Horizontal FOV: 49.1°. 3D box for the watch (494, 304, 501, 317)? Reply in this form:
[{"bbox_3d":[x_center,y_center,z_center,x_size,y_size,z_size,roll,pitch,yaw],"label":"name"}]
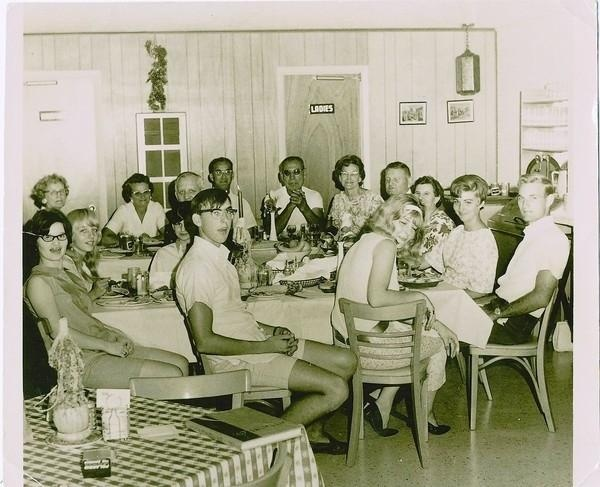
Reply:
[{"bbox_3d":[1.326,0.459,4.406,0.050,0.075,0.030,6,-22,17],"label":"watch"}]

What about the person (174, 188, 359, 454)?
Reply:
[{"bbox_3d":[-0.187,0.474,3.702,0.919,1.622,0.773,-1,9,13],"label":"person"}]

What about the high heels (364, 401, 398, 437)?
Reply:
[{"bbox_3d":[0.516,1.153,4.248,0.117,0.324,0.107,-24,-1,0],"label":"high heels"}]

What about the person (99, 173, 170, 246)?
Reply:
[{"bbox_3d":[-1.638,-0.276,6.642,0.642,0.825,0.509,-1,4,-19],"label":"person"}]

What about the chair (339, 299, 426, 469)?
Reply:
[{"bbox_3d":[0.523,0.787,3.884,0.587,0.938,0.579,-3,4,-41],"label":"chair"}]

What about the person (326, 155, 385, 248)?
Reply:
[{"bbox_3d":[0.489,-0.412,6.468,0.547,0.866,0.467,-1,-5,21],"label":"person"}]

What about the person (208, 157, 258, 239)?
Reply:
[{"bbox_3d":[-0.657,-0.478,6.790,0.547,0.960,0.338,-4,26,10],"label":"person"}]

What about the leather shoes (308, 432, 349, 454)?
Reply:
[{"bbox_3d":[0.138,1.237,4.034,0.301,0.140,0.099,8,-4,-2],"label":"leather shoes"}]

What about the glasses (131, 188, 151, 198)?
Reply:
[{"bbox_3d":[-1.590,-0.507,6.634,0.193,0.077,0.088,-5,12,-25],"label":"glasses"}]

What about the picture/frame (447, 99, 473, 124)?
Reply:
[{"bbox_3d":[1.839,-1.555,7.638,0.260,0.235,0.013,-4,16,-7],"label":"picture/frame"}]

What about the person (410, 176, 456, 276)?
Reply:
[{"bbox_3d":[1.061,-0.200,5.724,0.365,0.822,0.353,24,28,11],"label":"person"}]

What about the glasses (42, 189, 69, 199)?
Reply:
[{"bbox_3d":[-2.363,-0.493,6.396,0.225,0.116,0.171,-6,13,-31],"label":"glasses"}]
